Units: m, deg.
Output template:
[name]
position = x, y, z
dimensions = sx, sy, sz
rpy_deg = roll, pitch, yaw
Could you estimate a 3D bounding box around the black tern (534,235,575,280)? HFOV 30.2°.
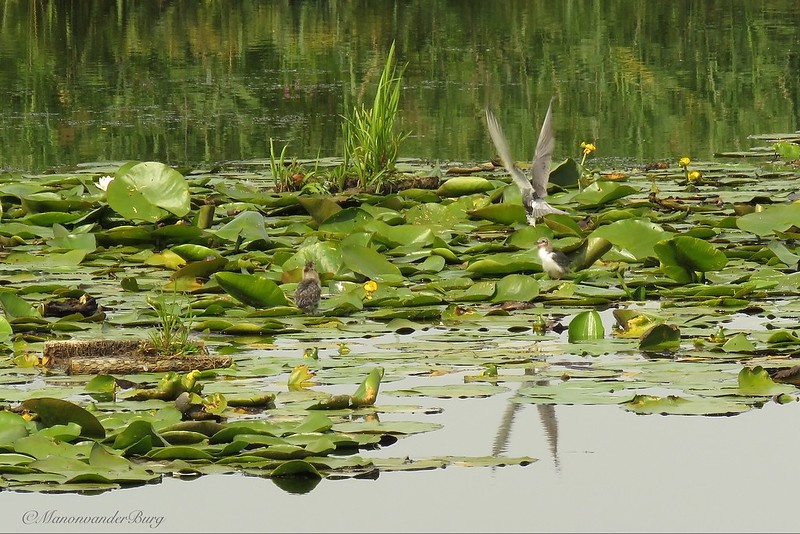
[black tern]
position = 1.129, -0.084, 11.189
dimensions = 0.245, 0.302, 0.448
rpy_deg = -6, -3, 37
